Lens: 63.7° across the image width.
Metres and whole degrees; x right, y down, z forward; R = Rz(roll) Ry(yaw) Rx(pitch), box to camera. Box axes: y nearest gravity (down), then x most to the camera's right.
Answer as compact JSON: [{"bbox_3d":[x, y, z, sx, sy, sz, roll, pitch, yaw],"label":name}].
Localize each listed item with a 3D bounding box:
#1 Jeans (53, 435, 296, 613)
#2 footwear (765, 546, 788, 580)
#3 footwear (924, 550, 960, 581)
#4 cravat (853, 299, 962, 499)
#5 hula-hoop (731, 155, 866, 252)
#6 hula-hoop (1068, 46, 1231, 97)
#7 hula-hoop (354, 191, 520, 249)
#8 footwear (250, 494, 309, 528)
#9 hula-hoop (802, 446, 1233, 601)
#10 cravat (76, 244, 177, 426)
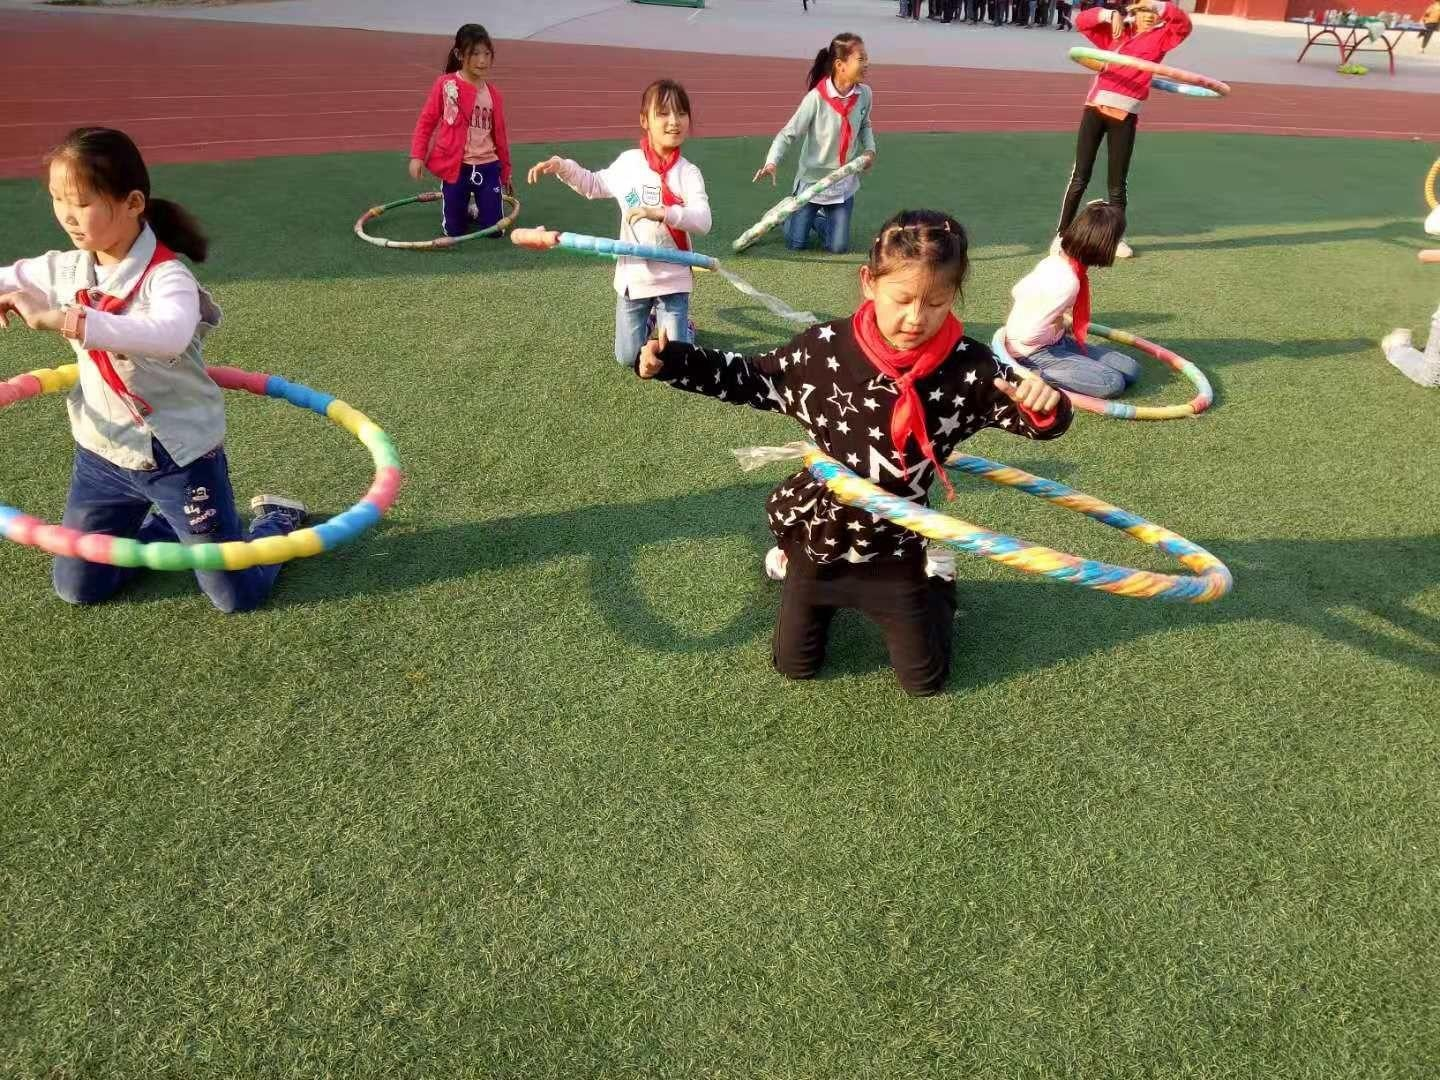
[{"bbox_3d":[-2.234,-0.232,4.756,0.866,0.843,0.715,3,29,-4],"label":"Jeans"},{"bbox_3d":[0.237,0.097,4.853,0.103,0.120,0.048,1,3,27],"label":"footwear"},{"bbox_3d":[0.875,0.094,4.555,0.124,0.043,0.151,6,16,-3],"label":"footwear"},{"bbox_3d":[0.626,-0.498,3.960,0.391,0.626,0.299,5,30,4],"label":"cravat"},{"bbox_3d":[0.586,-2.361,7.983,0.789,0.175,0.760,-33,14,-16],"label":"hula-hoop"},{"bbox_3d":[3.006,-3.326,8.208,1.057,0.301,0.731,5,28,4],"label":"hula-hoop"},{"bbox_3d":[-2.196,-2.379,8.634,1.130,0.151,1.663,-13,31,-27],"label":"hula-hoop"},{"bbox_3d":[-1.877,-0.135,4.987,0.291,0.112,0.102,10,-15,-27],"label":"footwear"},{"bbox_3d":[1.308,-0.002,4.370,1.038,1.014,0.168,21,74,19],"label":"hula-hoop"},{"bbox_3d":[-2.141,-0.769,4.256,0.236,0.608,0.358,12,31,16],"label":"cravat"}]
